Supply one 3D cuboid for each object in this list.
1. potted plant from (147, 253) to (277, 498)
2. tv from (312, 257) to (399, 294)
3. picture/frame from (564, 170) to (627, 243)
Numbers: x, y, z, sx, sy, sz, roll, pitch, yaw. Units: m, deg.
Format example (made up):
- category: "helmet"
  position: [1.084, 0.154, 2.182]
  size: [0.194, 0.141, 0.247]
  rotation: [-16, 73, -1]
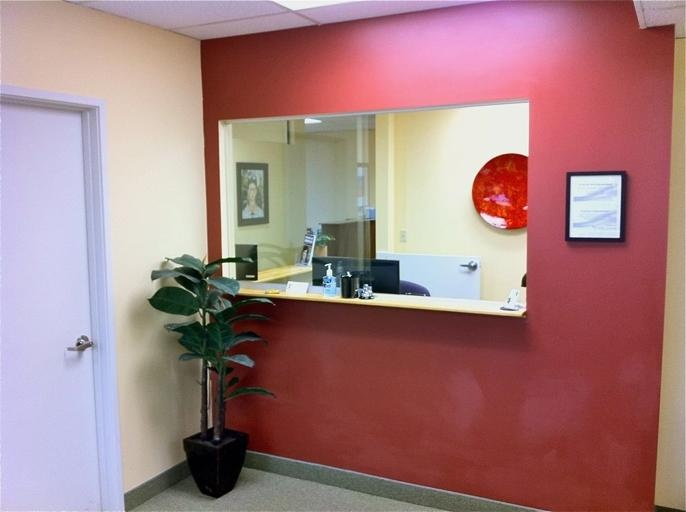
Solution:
- category: "potted plant"
  position: [-0.887, 0.820, 3.653]
  size: [0.782, 1.525, 0.789]
  rotation: [-6, -12, 19]
- category: "tv"
  position: [0.076, 0.122, 3.516]
  size: [0.620, 0.230, 0.027]
  rotation: [1, 7, 25]
- category: "picture/frame"
  position: [1.362, -0.269, 2.913]
  size: [0.382, 0.512, 0.035]
  rotation: [1, 1, 26]
